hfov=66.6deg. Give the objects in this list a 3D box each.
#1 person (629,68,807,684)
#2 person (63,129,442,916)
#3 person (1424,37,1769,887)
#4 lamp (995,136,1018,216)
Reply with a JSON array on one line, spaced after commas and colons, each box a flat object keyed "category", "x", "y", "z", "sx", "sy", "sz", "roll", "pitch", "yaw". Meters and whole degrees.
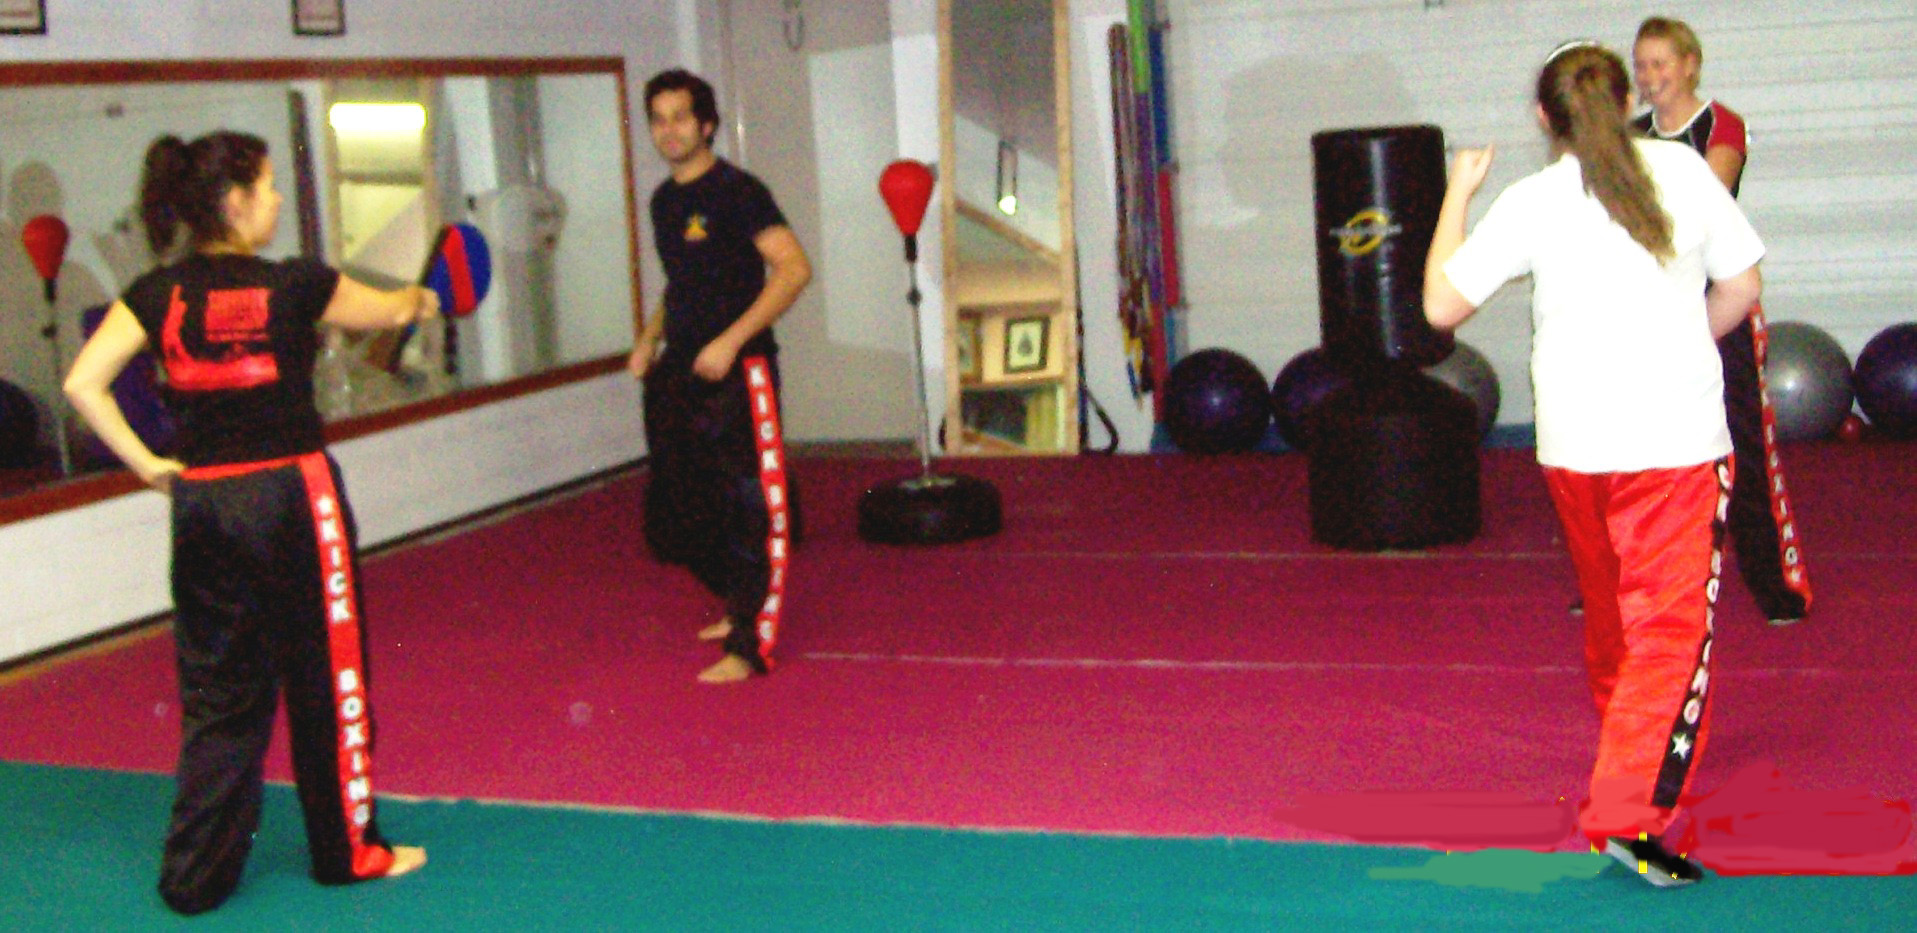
[{"category": "person", "x": -1.117, "y": -0.391, "z": 6.781, "sx": 0.706, "sy": 2.794, "sz": 0.558, "roll": 8, "pitch": 18, "yaw": 34}, {"category": "person", "x": -2.697, "y": 0.464, "z": 5.684, "sx": 1.120, "sy": 2.537, "sz": 0.483, "roll": -6, "pitch": 15, "yaw": -15}, {"category": "person", "x": 2.413, "y": -0.085, "z": 5.522, "sx": 1.060, "sy": 2.916, "sz": 0.713, "roll": 3, "pitch": 15, "yaw": 19}, {"category": "lamp", "x": 0.312, "y": -1.877, "z": 9.507, "sx": 0.150, "sy": 0.485, "sz": 0.102, "roll": -1, "pitch": 15, "yaw": 6}]
